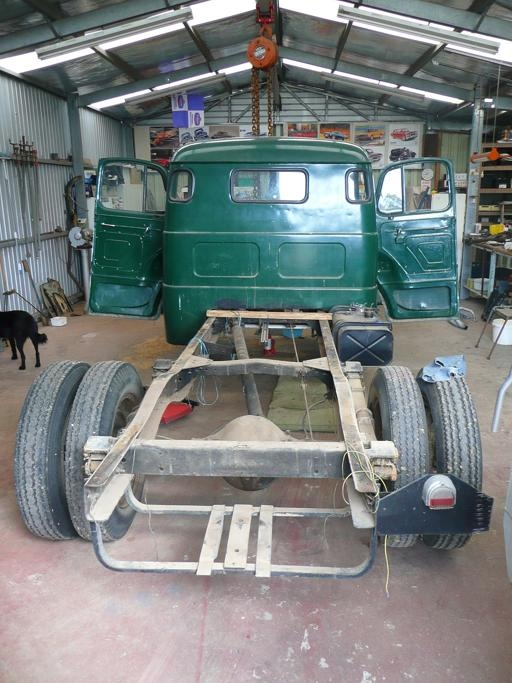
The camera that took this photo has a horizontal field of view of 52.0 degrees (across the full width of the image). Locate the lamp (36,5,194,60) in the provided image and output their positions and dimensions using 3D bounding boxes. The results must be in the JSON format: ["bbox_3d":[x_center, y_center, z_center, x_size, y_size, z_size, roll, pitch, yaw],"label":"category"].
[{"bbox_3d":[-1.544,-3.433,5.798,1.721,0.654,0.429,-3,13,-14],"label":"lamp"}]

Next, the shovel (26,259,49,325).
[{"bbox_3d":[-3.381,-0.834,7.945,0.148,0.849,0.125,-13,-12,-30],"label":"shovel"}]
